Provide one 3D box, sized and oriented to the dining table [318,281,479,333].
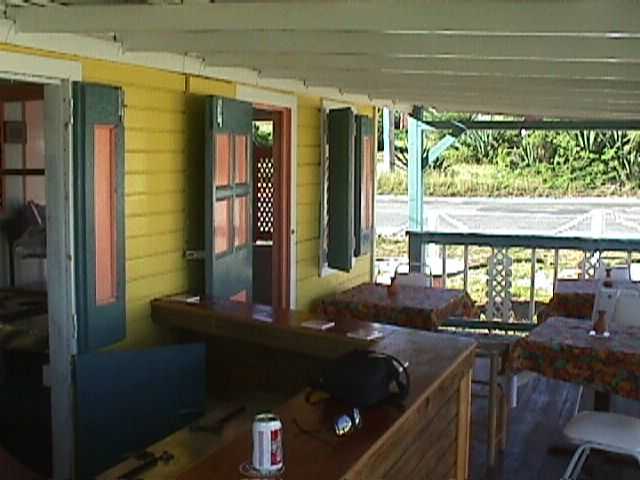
[{"bbox_3d":[0.796,0.653,6.323,1.344,0.307,1.073,7,11,25],"label":"dining table"}]
